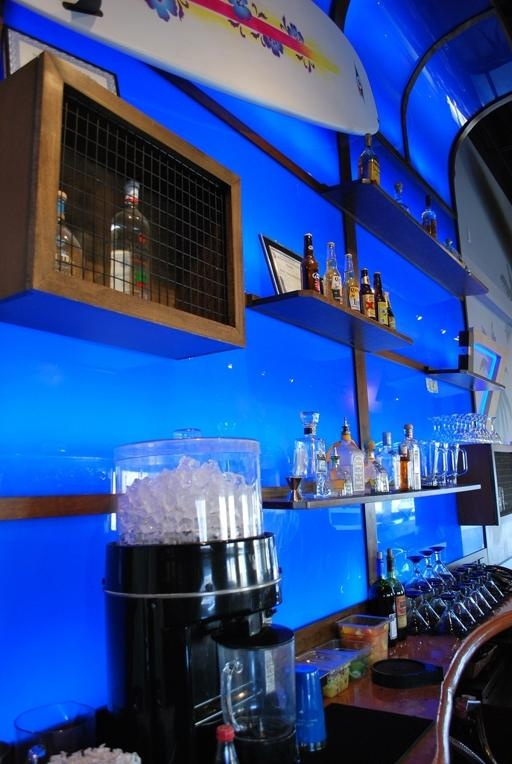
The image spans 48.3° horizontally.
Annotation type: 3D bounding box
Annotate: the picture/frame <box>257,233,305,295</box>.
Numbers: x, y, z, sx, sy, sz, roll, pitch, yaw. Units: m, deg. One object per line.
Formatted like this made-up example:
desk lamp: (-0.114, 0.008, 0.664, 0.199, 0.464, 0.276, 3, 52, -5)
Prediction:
picture/frame: (0.073, -0.371, 1.815, 0.017, 0.195, 0.241, -19, -14, 26)

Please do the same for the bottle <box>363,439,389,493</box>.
bottle: (0.415, 0.294, 1.993, 0.073, 0.180, 0.198, -7, -11, 12)

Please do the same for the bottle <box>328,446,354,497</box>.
bottle: (0.260, 0.277, 1.781, 0.069, 0.155, 0.153, -6, -11, 8)
